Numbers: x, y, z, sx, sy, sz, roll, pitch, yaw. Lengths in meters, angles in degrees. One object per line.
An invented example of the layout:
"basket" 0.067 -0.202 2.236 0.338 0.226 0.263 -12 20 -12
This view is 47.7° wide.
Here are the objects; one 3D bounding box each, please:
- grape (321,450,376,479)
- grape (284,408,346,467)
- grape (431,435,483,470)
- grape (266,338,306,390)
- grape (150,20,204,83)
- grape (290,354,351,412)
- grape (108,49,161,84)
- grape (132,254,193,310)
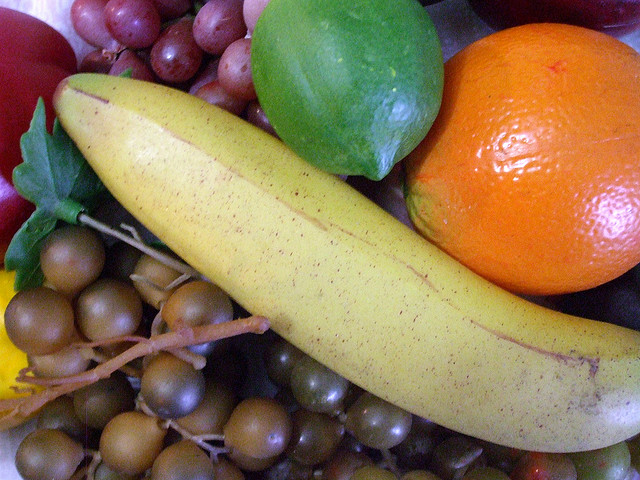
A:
"grape" 0.034 0.289 0.932 0.046 0.032 0.040 -13 21 -1
"grape" -0.007 0.260 0.943 0.071 0.069 0.061 -2 2 -4
"grape" 0.178 0.275 0.938 0.053 0.037 0.039 -19 30 -1
"grape" -0.051 0.165 0.972 0.050 0.077 0.058 -6 6 3
"grape" -0.197 -0.255 0.994 0.056 0.092 0.053 41 3 0
"grape" 0.003 0.173 0.922 0.067 0.068 0.060 2 8 0
"grape" -0.255 -0.247 1.021 0.053 0.055 0.071 -19 34 -27
"grape" -0.212 0.061 0.981 0.056 0.081 0.062 3 26 9
